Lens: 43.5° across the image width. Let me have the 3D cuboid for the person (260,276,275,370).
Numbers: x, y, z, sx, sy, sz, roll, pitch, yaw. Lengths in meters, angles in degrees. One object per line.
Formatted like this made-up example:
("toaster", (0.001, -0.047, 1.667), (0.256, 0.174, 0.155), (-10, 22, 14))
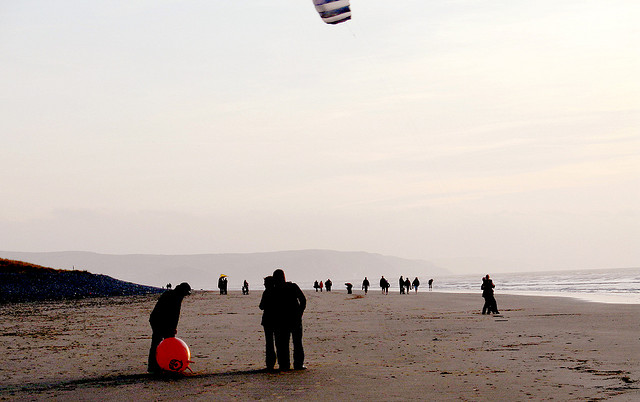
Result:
("person", (-1.431, 3.336, 22.154), (0.392, 2.494, 0.531), (0, -9, -4))

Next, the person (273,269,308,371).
("person", (-0.822, 3.262, 22.186), (0.799, 2.740, 0.754), (6, -12, -36))

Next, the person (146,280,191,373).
("person", (-4.209, 3.452, 22.055), (1.178, 2.420, 0.845), (-1, -9, 5))

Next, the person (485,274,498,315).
("person", (7.474, 4.033, 34.852), (0.481, 1.669, 1.053), (-3, -9, 12))

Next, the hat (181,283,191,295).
("hat", (-3.753, 2.402, 22.259), (0.091, 0.327, 0.377), (-17, -20, 20))
